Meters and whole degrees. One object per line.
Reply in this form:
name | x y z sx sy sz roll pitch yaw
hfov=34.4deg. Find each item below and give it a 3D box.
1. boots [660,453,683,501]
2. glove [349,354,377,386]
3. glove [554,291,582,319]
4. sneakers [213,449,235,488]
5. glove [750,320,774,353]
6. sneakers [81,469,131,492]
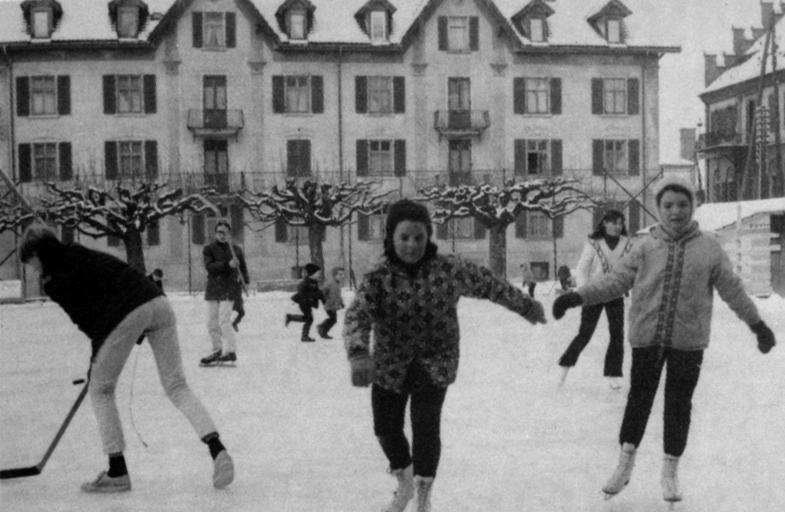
boots | 3.075 2.444 14.014 0.226 0.539 0.261 1 5 13
glove | -0.313 1.212 13.333 0.288 0.291 0.300 0 4 -3
glove | 1.889 0.510 14.045 0.313 0.305 0.130 -25 25 -3
sneakers | -1.896 2.397 14.310 0.214 0.442 0.205 3 28 -26
glove | 4.179 0.916 14.318 0.237 0.426 0.182 -17 5 -1
sneakers | -3.210 2.554 14.372 0.421 0.159 0.238 3 -6 -3
